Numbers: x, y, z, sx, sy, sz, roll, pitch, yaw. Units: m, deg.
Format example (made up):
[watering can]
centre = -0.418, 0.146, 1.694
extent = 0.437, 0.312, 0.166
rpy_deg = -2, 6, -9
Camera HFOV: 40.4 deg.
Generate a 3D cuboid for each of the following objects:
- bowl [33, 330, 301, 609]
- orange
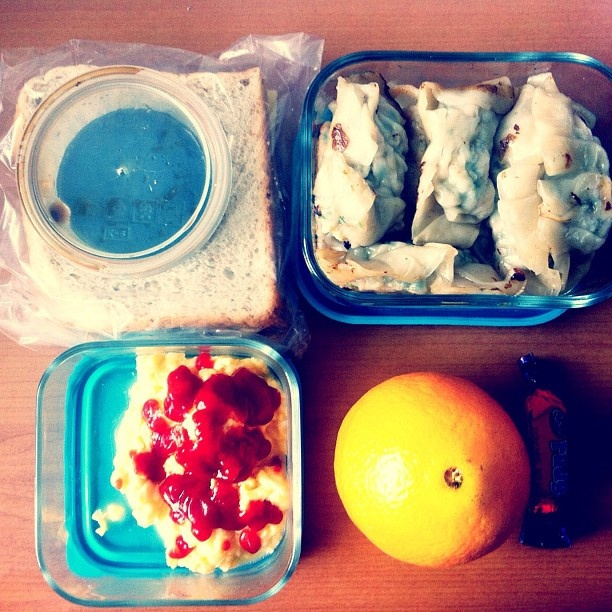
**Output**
[bowl]
centre = -0.274, 0.202, 1.202
extent = 0.319, 0.110, 0.404
rpy_deg = -1, 94, 0
[orange]
centre = 0.158, 0.170, 1.045
extent = 0.203, 0.175, 0.259
rpy_deg = 5, 84, 7
